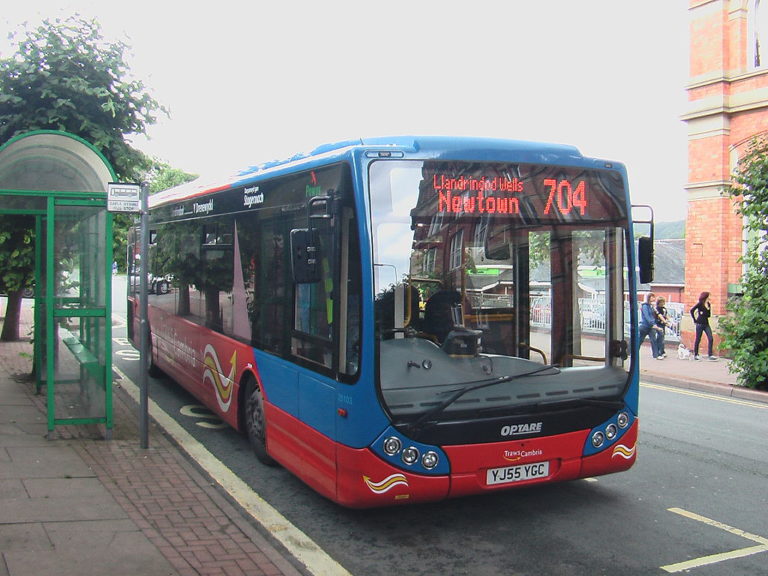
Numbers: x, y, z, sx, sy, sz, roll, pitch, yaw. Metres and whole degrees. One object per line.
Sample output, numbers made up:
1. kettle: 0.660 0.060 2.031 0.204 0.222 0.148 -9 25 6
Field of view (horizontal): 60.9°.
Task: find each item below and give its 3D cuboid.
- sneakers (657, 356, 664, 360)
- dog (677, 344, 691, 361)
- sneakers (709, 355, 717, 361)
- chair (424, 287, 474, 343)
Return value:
1. sneakers: 7.561 1.908 17.876 0.073 0.098 0.214 -2 -6 -2
2. dog: 8.274 1.756 17.978 0.325 0.375 0.590 3 3 25
3. sneakers: 8.946 1.911 17.743 0.286 0.138 0.107 -2 4 -35
4. chair: 0.609 0.270 6.487 0.336 0.540 0.457 3 -8 -11
